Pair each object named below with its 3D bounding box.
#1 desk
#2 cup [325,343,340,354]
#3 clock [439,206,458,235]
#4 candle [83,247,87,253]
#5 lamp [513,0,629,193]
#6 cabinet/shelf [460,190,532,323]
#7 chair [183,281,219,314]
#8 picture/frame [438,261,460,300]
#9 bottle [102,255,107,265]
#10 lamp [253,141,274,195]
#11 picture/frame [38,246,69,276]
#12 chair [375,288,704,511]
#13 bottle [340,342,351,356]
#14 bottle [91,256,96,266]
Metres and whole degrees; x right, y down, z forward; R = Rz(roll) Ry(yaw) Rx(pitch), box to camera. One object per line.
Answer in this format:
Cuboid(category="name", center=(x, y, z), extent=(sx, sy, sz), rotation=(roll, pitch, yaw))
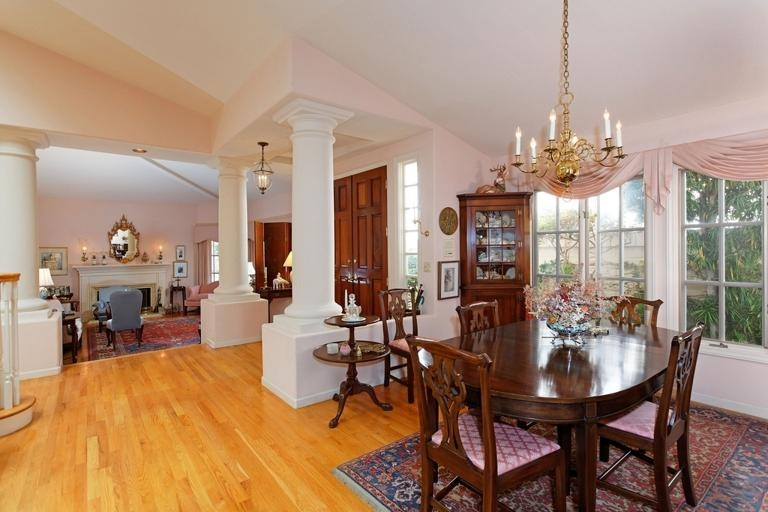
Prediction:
Cuboid(category="desk", center=(-0.338, 1.276, 5.619), extent=(0.939, 1.085, 0.900), rotation=(-1, 4, -12))
Cuboid(category="cup", center=(-0.570, 1.046, 5.422), extent=(0.118, 0.086, 0.119), rotation=(2, -4, 0))
Cuboid(category="clock", center=(0.903, -0.510, 6.791), extent=(0.391, 0.395, 0.039), rotation=(-6, 11, -43))
Cuboid(category="candle", center=(-6.921, -0.159, 11.100), extent=(0.080, 0.170, 0.059), rotation=(-4, 0, -42))
Cuboid(category="lamp", center=(2.000, -1.601, 5.502), extent=(1.345, 1.807, 2.603), rotation=(-4, 0, 26))
Cuboid(category="cabinet/shelf", center=(1.660, 0.269, 6.941), extent=(1.130, 2.367, 0.479), rotation=(-1, 12, 13))
Cuboid(category="chair", center=(-4.555, 0.998, 11.844), extent=(0.661, 0.636, 0.624), rotation=(-7, 5, 39))
Cuboid(category="picture/frame", center=(0.910, 0.341, 6.792), extent=(0.545, 0.642, 0.064), rotation=(1, -2, -42))
Cuboid(category="bottle", center=(-6.612, 0.069, 11.341), extent=(0.119, 0.226, 0.073), rotation=(-4, 0, -35))
Cuboid(category="lamp", center=(-1.809, -1.346, 7.205), extent=(0.420, 0.706, 0.419), rotation=(-1, 3, -29))
Cuboid(category="picture/frame", center=(-7.119, 0.095, 10.299), extent=(0.024, 0.677, 0.671), rotation=(3, 2, 44))
Cuboid(category="chair", center=(1.712, 1.470, 4.481), extent=(2.016, 1.536, 1.381), rotation=(-3, 0, -35))
Cuboid(category="bottle", center=(-0.420, 1.054, 5.429), extent=(0.103, 0.108, 0.112), rotation=(4, 10, 18))
Cuboid(category="bottle", center=(-6.775, 0.076, 11.226), extent=(0.065, 0.228, 0.123), rotation=(-3, 0, 25))
